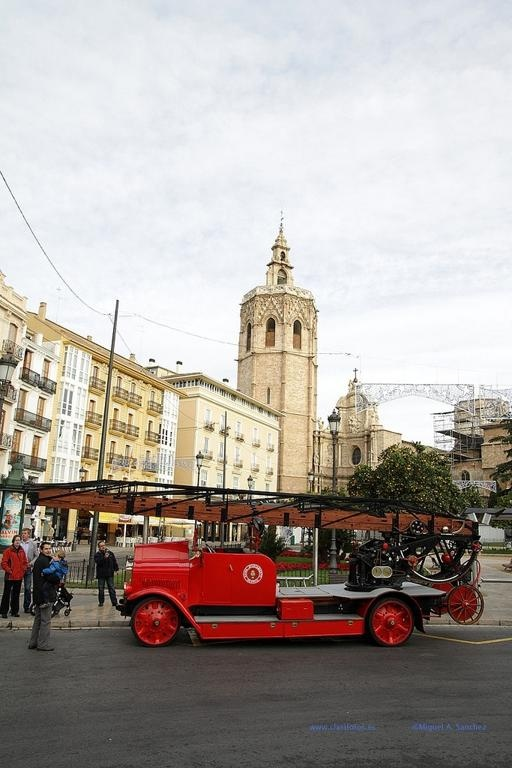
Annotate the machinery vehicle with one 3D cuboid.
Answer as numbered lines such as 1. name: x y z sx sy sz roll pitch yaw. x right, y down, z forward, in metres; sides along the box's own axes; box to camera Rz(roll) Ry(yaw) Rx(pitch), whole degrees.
1. machinery vehicle: 0.294 3.322 11.640 7.695 2.596 2.242 1 -14 -6

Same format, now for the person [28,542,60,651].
1. person: -3.310 3.323 9.940 0.418 1.561 0.803 5 -12 -18

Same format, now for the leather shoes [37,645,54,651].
1. leather shoes: -3.139 3.974 9.487 0.257 0.106 0.093 4 -6 -5

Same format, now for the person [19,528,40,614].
1. person: -4.929 3.966 13.404 0.556 1.774 0.569 -1 -11 -4
